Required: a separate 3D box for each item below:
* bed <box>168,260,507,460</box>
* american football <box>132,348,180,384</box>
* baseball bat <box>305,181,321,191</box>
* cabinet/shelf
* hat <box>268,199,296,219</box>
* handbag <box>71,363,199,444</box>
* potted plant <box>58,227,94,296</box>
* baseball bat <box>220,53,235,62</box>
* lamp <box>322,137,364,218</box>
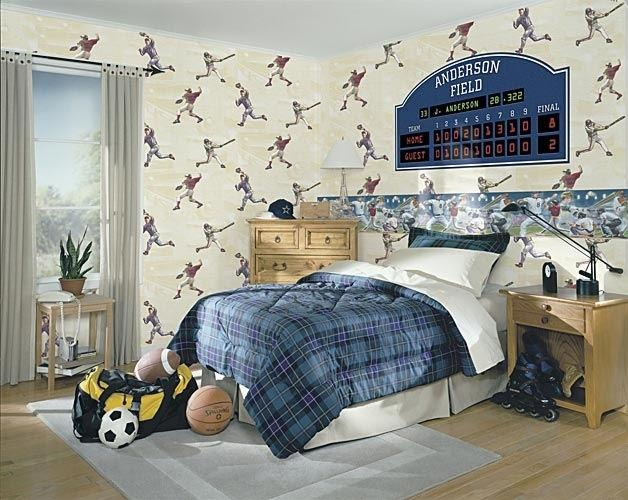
[{"bbox_3d":[0.358,0.630,3.435,1.584,0.475,1.444,-7,10,-30],"label":"bed"},{"bbox_3d":[-1.049,0.782,3.478,0.331,0.155,0.193,-10,4,-13],"label":"american football"},{"bbox_3d":[0.002,-0.705,5.972,0.245,0.062,0.060,-25,-8,7],"label":"baseball bat"},{"bbox_3d":[-0.070,0.006,4.995,0.860,0.587,0.286,-1,0,6],"label":"cabinet/shelf"},{"bbox_3d":[-0.327,-0.402,5.339,0.282,0.094,0.235,5,3,-2],"label":"hat"},{"bbox_3d":[-1.122,0.963,3.309,0.714,0.248,0.447,3,-1,-27],"label":"handbag"},{"bbox_3d":[-2.081,0.111,4.533,0.270,0.523,0.759,-5,10,-23],"label":"potted plant"},{"bbox_3d":[-0.882,-1.970,5.356,0.112,0.028,0.111,-19,12,-40],"label":"baseball bat"},{"bbox_3d":[0.318,-0.775,5.560,0.421,0.835,0.444,0,10,4],"label":"lamp"}]
